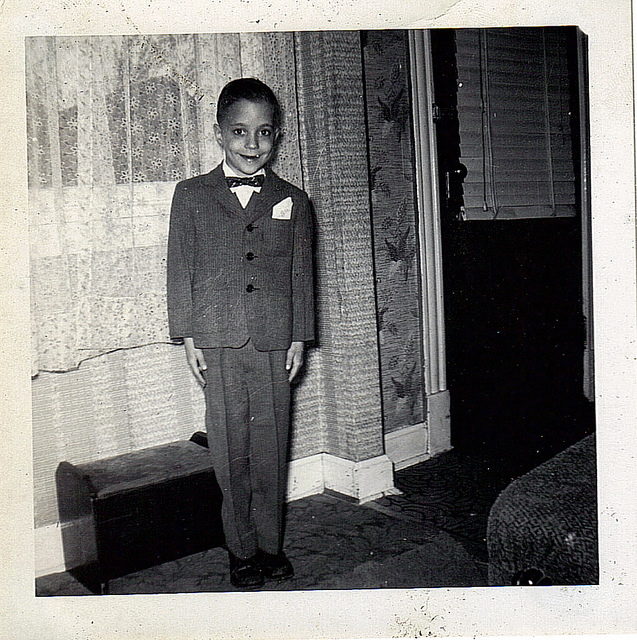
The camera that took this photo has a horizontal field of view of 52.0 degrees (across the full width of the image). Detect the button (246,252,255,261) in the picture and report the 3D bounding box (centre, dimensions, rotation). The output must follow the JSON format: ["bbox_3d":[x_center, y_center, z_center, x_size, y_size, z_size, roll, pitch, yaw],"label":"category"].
[{"bbox_3d":[-0.192,-0.177,1.821,0.021,0.022,0.005,2,-11,-9],"label":"button"}]

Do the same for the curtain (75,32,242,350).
[{"bbox_3d":[-0.448,-0.358,1.811,0.502,0.840,0.109,-5,7,-16],"label":"curtain"}]

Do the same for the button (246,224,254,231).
[{"bbox_3d":[-0.191,-0.258,1.827,0.018,0.012,0.007,-3,-2,-25],"label":"button"}]
